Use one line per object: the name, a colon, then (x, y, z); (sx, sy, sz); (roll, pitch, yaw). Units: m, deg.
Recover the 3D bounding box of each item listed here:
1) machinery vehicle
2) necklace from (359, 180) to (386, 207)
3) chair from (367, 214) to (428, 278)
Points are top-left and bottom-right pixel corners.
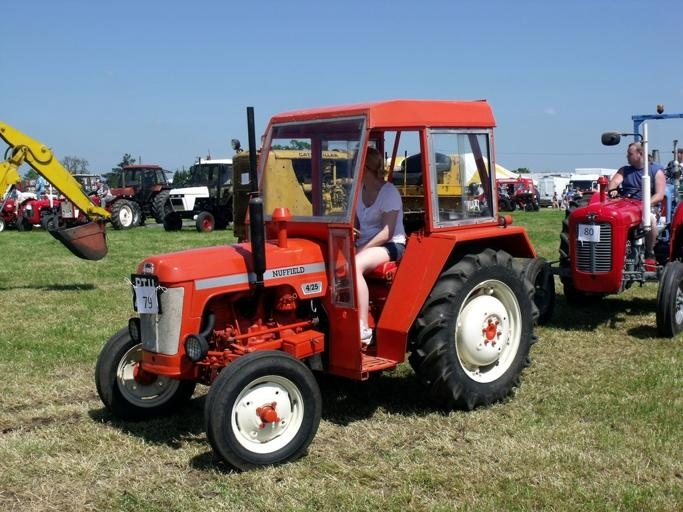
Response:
machinery vehicle: (1.038, -0.123, 6.587); (5.966, 2.639, 3.078); (-11, 14, -43)
necklace: (0.266, -0.549, 6.048); (0.205, 0.218, 0.080); (14, 3, 34)
chair: (0.573, -0.130, 6.388); (0.667, 0.644, 0.416); (-1, -2, 28)
